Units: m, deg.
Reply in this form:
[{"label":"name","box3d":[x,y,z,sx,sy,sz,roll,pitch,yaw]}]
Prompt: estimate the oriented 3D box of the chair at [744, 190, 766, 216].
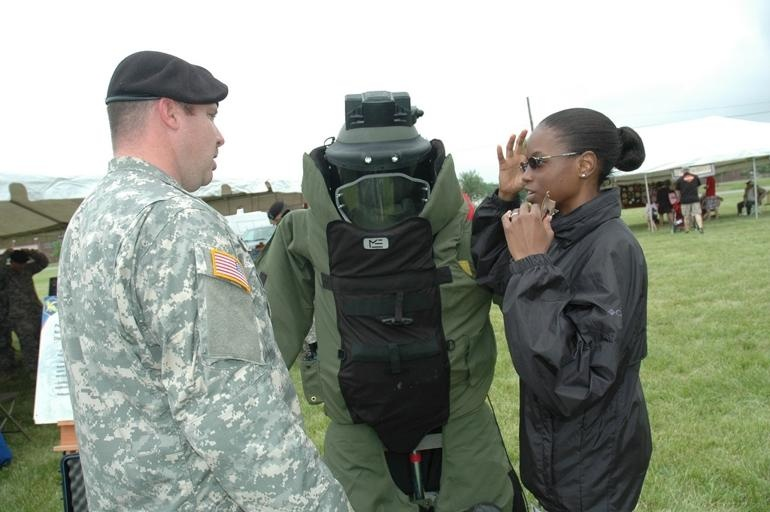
[{"label":"chair","box3d":[9.797,-1.394,17.115,0.407,0.779,0.778,4,1,41]}]
